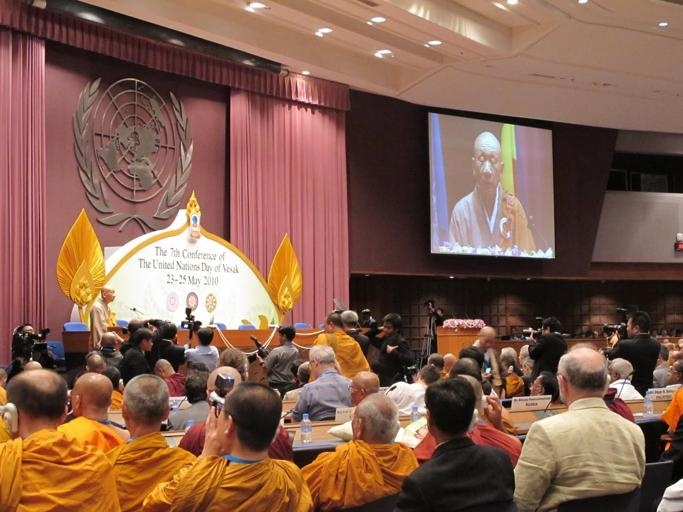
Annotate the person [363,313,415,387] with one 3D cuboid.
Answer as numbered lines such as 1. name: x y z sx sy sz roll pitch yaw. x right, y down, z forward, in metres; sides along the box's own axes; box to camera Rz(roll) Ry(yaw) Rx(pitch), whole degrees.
1. person: 0.514 1.274 7.357 0.598 1.062 0.473 5 -19 19

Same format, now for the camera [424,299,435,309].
1. camera: 1.559 0.838 10.736 0.141 0.143 0.351 0 -3 2

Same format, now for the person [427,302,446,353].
1. person: 1.788 1.368 11.915 0.321 1.147 0.327 10 10 42

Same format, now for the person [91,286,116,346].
1. person: -3.404 0.839 8.728 0.313 0.807 0.862 1 -2 -23

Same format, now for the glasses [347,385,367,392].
1. glasses: 0.111 0.905 4.188 0.121 0.052 0.028 -2 -3 39

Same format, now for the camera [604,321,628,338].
1. camera: 3.437 0.916 7.568 0.293 0.149 0.242 1 -1 -17
